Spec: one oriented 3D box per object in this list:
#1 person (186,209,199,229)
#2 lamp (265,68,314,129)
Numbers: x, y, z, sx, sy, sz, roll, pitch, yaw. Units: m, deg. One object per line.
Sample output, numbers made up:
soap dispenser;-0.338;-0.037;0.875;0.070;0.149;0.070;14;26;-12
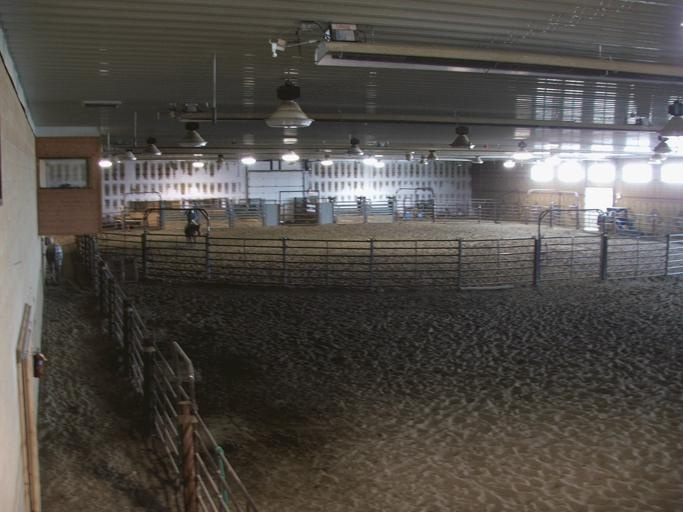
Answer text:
person;-4.612;-1.148;21.104;0.359;0.247;1.067;15;-7;-1
lamp;-0.613;-1.826;8.146;0.506;0.541;0.468;3;14;0
